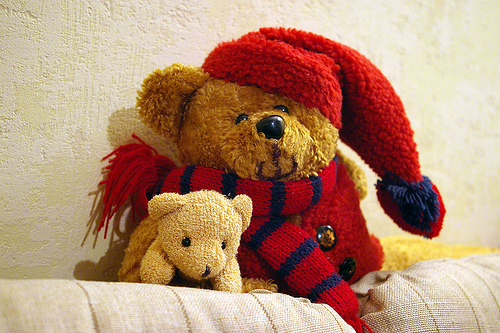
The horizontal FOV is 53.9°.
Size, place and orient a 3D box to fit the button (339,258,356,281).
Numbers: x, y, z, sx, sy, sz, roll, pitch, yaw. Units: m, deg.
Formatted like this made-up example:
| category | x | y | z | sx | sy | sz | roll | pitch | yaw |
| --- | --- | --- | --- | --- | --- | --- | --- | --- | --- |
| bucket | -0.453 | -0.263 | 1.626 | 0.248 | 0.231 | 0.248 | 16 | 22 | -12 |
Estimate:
| category | x | y | z | sx | sy | sz | roll | pitch | yaw |
| --- | --- | --- | --- | --- | --- | --- | --- | --- | --- |
| button | 0.224 | 0.237 | 1.136 | 0.035 | 0.049 | 0.012 | 27 | -3 | -20 |

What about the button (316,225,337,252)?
| category | x | y | z | sx | sy | sz | roll | pitch | yaw |
| --- | --- | --- | --- | --- | --- | --- | --- | --- | --- |
| button | 0.174 | 0.161 | 1.116 | 0.057 | 0.055 | 0.013 | 8 | 8 | 28 |

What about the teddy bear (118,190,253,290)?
| category | x | y | z | sx | sy | sz | roll | pitch | yaw |
| --- | --- | --- | --- | --- | --- | --- | --- | --- | --- |
| teddy bear | -0.128 | 0.141 | 1.087 | 0.188 | 0.202 | 0.250 | 23 | 9 | -38 |
